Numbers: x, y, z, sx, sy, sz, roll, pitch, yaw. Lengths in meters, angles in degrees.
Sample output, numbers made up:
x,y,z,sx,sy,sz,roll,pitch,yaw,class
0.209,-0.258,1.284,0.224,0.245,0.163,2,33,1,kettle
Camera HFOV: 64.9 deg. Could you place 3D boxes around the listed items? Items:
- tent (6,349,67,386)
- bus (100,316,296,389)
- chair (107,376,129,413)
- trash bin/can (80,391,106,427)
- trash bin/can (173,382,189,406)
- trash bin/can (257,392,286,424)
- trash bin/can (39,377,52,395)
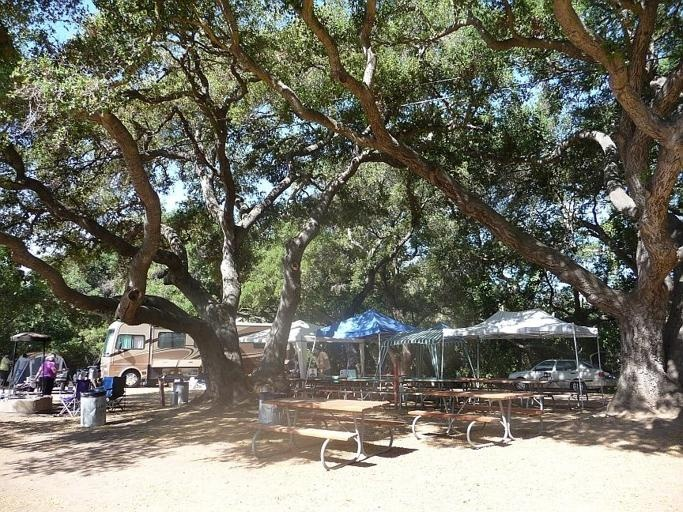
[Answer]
x,y,z,sx,sy,sz,roll,pitch,yaw,class
-12.923,4.889,23.588,2.739,1.459,2.780,-3,-19,-16,tent
-7.684,4.888,26.931,7.591,3.043,2.094,7,-9,-32,bus
-7.222,4.389,16.919,0.869,1.041,0.838,3,-12,-24,chair
-6.497,4.028,14.079,0.585,0.911,0.621,3,-15,-24,trash bin/can
-5.285,4.577,17.890,0.478,0.719,0.568,7,-17,-34,trash bin/can
-1.437,3.124,11.104,0.574,0.598,0.583,-3,-2,36,trash bin/can
-10.007,4.419,18.236,0.329,0.568,0.420,-9,-15,23,trash bin/can
